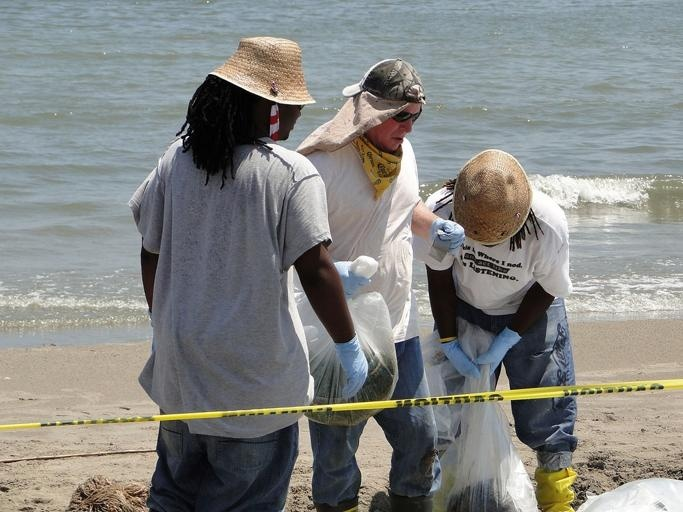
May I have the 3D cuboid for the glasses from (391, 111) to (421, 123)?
[{"bbox_3d":[0.710,-1.471,16.269,0.144,0.130,0.357,4,7,44],"label":"glasses"}]

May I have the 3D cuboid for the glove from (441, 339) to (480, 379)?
[{"bbox_3d":[1.260,1.112,16.499,0.164,0.444,0.342,-43,7,-30],"label":"glove"}]

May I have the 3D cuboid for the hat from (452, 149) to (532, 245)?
[{"bbox_3d":[1.559,-0.596,16.156,0.852,0.961,0.347,1,0,5],"label":"hat"}]

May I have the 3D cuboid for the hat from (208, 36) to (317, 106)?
[{"bbox_3d":[-0.644,-1.837,15.700,0.855,0.413,0.818,25,4,-41],"label":"hat"}]
